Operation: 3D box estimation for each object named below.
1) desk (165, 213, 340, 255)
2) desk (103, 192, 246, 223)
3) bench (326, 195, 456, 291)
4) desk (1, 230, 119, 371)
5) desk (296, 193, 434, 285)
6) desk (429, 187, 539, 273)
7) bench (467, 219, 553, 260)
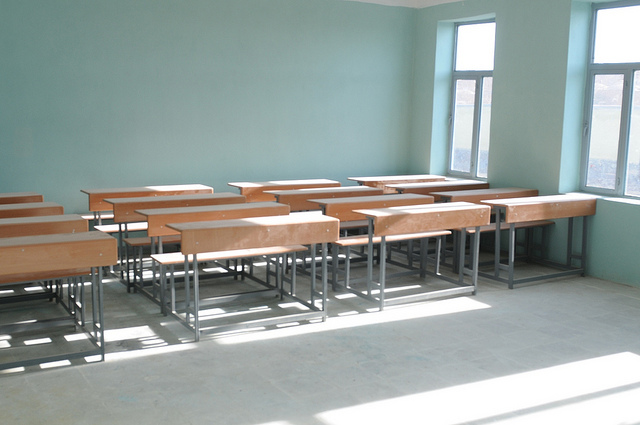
[{"bbox_3d":[-0.685,0.192,4.677,1.570,0.183,0.422,-3,10,-22],"label":"desk"},{"bbox_3d":[-1.910,-0.149,5.867,1.467,0.234,0.495,-3,12,-25],"label":"desk"},{"bbox_3d":[0.895,0.385,5.875,1.680,0.774,0.602,-4,9,-28],"label":"bench"},{"bbox_3d":[-2.420,0.831,4.294,1.418,0.759,0.730,-6,19,-34],"label":"desk"},{"bbox_3d":[0.485,0.213,6.307,2.150,0.906,0.742,-4,20,-39],"label":"desk"},{"bbox_3d":[2.253,0.226,6.313,1.717,0.744,0.483,-4,8,-26],"label":"desk"},{"bbox_3d":[2.611,0.432,6.656,1.321,0.432,0.561,-4,4,-17],"label":"bench"}]
